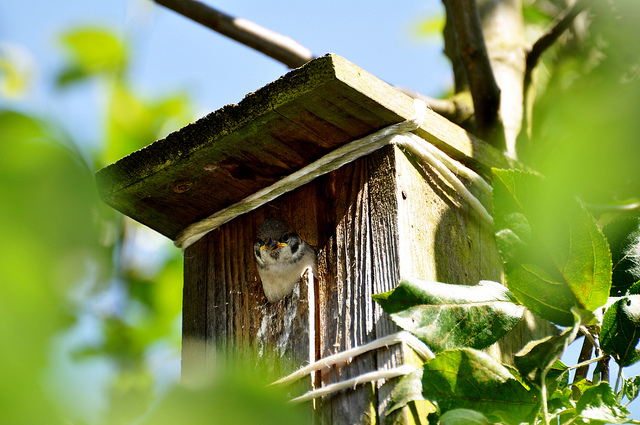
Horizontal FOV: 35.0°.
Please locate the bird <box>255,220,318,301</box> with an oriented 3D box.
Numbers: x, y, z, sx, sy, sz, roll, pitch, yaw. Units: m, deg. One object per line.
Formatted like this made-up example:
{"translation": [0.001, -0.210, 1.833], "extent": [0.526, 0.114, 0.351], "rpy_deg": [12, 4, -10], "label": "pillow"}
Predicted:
{"translation": [-0.119, 0.149, 3.521], "extent": [0.187, 0.318, 0.174], "rpy_deg": [0, -47, -7], "label": "bird"}
